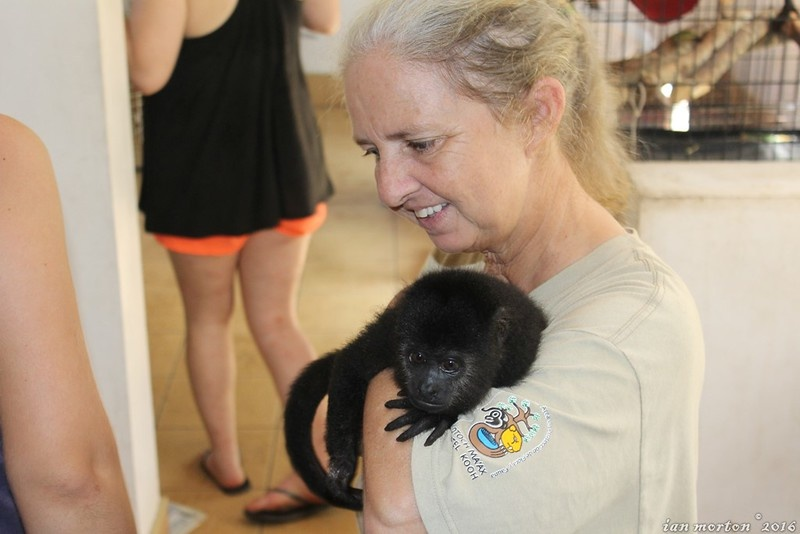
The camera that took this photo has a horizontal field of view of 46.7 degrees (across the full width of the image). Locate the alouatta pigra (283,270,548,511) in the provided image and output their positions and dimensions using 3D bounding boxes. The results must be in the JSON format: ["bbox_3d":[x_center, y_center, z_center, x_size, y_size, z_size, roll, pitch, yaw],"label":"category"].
[{"bbox_3d":[0.105,0.244,2.555,0.541,0.266,0.755,7,37,37],"label":"alouatta pigra"}]

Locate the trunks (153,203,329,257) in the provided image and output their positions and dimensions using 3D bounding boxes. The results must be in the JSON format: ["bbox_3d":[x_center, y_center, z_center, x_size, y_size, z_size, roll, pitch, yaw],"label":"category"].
[{"bbox_3d":[-0.476,-0.100,2.782,0.252,0.056,0.149,-10,-26,25],"label":"trunks"}]
